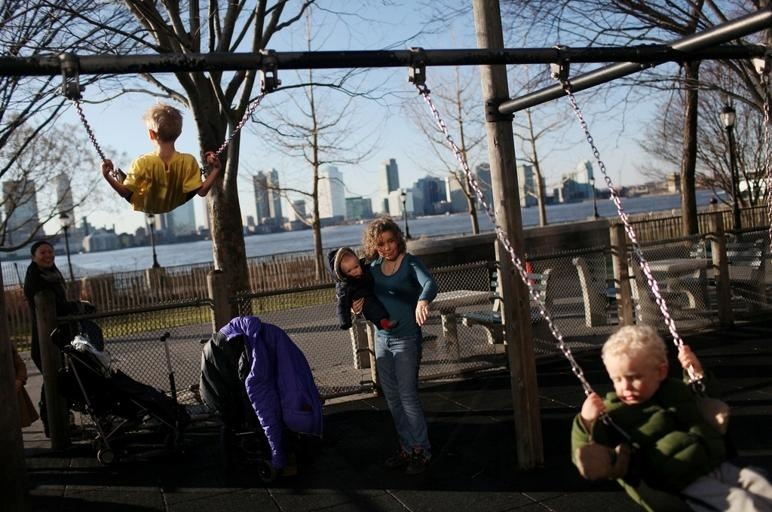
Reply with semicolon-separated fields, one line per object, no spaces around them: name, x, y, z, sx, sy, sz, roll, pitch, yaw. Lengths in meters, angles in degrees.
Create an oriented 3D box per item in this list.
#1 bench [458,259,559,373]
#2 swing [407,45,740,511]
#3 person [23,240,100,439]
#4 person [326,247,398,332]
bench;1.735;0.934;14.671;1.129;1.781;1.678;-6;-7;45
swing;1.919;-0.059;9.442;3.243;5.317;3.634;1;-1;-38
person;-4.789;1.115;12.833;0.986;2.888;1.083;0;-5;44
person;-0.387;0.409;11.074;0.734;1.083;0.388;-15;-17;-1
